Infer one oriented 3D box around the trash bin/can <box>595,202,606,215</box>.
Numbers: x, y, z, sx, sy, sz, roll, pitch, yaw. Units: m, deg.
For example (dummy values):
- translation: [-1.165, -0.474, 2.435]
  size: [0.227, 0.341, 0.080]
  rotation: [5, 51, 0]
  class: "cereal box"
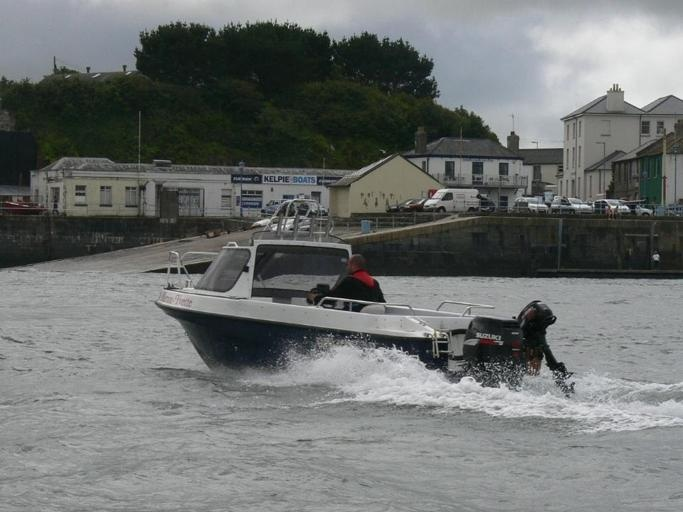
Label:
- translation: [14.695, -2.785, 76.384]
  size: [0.734, 0.819, 0.726]
  rotation: [0, -2, -14]
  class: "trash bin/can"
